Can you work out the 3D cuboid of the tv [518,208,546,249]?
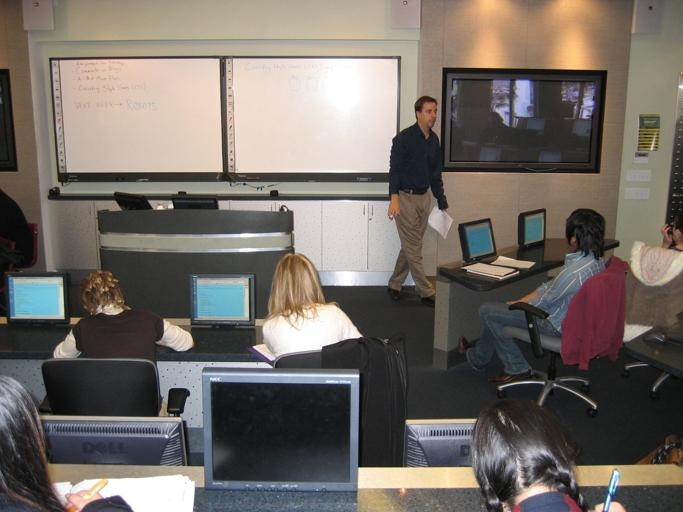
[{"bbox_3d":[1.737,-0.245,5.230,0.048,0.273,0.362,4,12,41],"label":"tv"}]

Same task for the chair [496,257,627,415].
[{"bbox_3d":[1.522,0.541,4.012,0.731,1.029,0.666,6,12,32],"label":"chair"}]

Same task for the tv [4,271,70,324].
[{"bbox_3d":[-1.811,0.239,3.446,0.286,0.251,0.095,1,8,0],"label":"tv"}]

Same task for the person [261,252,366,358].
[{"bbox_3d":[-0.175,0.265,3.031,0.421,0.531,0.905,-5,-30,3],"label":"person"}]

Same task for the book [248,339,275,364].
[{"bbox_3d":[-0.416,0.507,3.007,0.104,0.030,0.113,32,16,8],"label":"book"}]

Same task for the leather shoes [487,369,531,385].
[{"bbox_3d":[1.232,0.865,4.258,0.329,0.138,0.113,0,0,15],"label":"leather shoes"}]

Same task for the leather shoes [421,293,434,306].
[{"bbox_3d":[0.916,0.461,6.044,0.145,0.087,0.070,2,8,20],"label":"leather shoes"}]

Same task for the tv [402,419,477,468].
[{"bbox_3d":[0.350,0.666,2.043,0.277,0.200,0.158,0,2,0],"label":"tv"}]

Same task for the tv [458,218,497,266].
[{"bbox_3d":[1.122,-0.132,4.715,0.436,0.338,0.069,-12,3,-42],"label":"tv"}]

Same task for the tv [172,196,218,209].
[{"bbox_3d":[-1.178,-0.435,4.639,0.347,0.114,0.095,-5,12,-5],"label":"tv"}]

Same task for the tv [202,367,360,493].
[{"bbox_3d":[-0.206,0.564,1.909,0.399,0.333,0.030,1,5,1],"label":"tv"}]

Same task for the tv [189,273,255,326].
[{"bbox_3d":[-0.712,0.265,3.429,0.389,0.293,0.035,3,-10,-30],"label":"tv"}]

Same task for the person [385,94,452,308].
[{"bbox_3d":[0.780,-0.582,6.050,0.644,2.100,0.486,-2,12,5],"label":"person"}]

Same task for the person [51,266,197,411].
[{"bbox_3d":[-1.194,0.570,3.146,0.608,0.971,0.497,9,21,15],"label":"person"}]

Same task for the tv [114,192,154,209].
[{"bbox_3d":[-1.711,-0.459,4.733,0.330,0.132,0.112,3,13,28],"label":"tv"}]

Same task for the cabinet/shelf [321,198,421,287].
[{"bbox_3d":[0.338,-0.209,6.485,0.937,0.915,0.369,0,5,2],"label":"cabinet/shelf"}]
